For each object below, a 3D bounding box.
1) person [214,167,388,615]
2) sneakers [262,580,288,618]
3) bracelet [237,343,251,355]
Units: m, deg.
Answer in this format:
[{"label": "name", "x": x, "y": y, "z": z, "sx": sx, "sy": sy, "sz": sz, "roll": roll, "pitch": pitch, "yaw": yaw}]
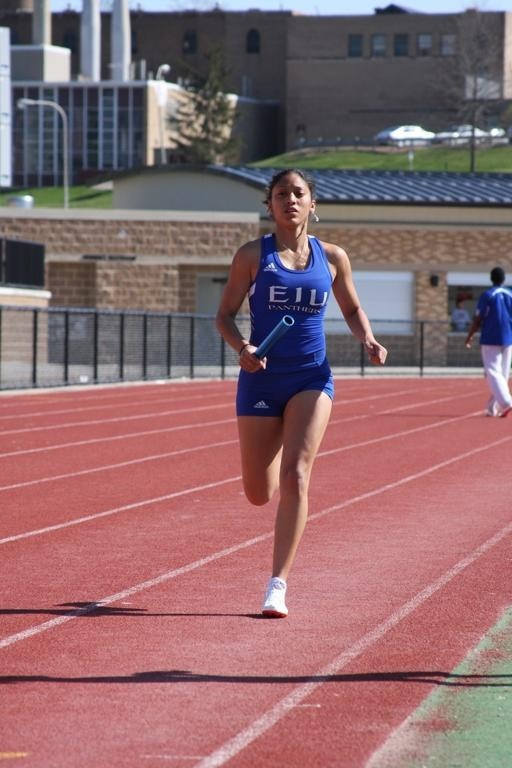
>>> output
[{"label": "person", "x": 0.131, "y": 0.037, "z": 5.264, "sx": 0.489, "sy": 1.804, "sz": 0.754, "roll": 2, "pitch": 3, "yaw": 41}, {"label": "sneakers", "x": 0.074, "y": 0.848, "z": 5.269, "sx": 0.103, "sy": 0.182, "sz": 0.234, "roll": 0, "pitch": 3, "yaw": 1}, {"label": "bracelet", "x": -0.044, "y": -0.128, "z": 4.950, "sx": 0.040, "sy": 0.011, "sz": 0.041, "roll": -44, "pitch": 6, "yaw": 18}]
